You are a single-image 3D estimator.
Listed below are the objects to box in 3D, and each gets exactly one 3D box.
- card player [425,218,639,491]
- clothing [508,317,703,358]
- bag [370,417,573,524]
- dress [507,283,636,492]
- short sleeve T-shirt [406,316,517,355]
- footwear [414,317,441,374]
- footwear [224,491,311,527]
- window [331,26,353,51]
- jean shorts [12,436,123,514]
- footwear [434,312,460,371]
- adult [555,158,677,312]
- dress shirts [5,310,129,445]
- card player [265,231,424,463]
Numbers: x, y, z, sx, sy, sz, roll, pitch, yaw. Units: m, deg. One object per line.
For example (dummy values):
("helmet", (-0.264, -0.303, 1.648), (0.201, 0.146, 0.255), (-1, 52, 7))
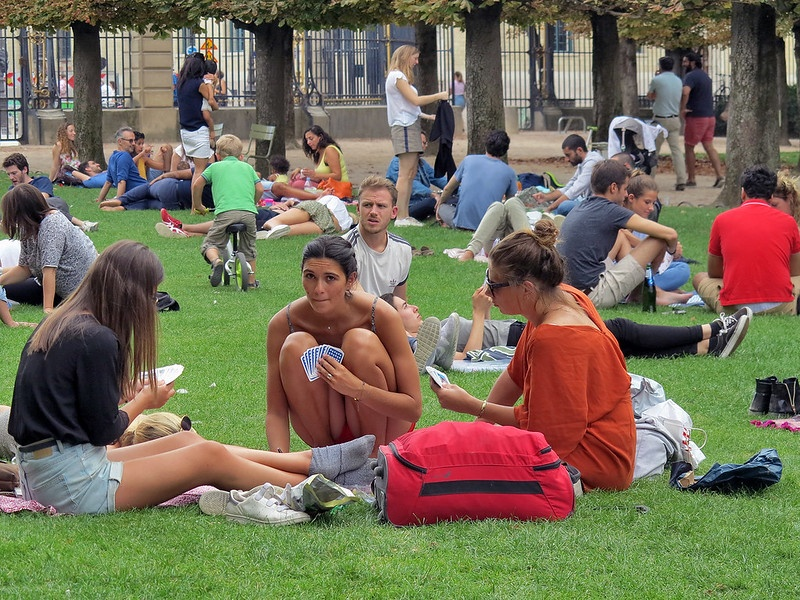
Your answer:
("card player", (0.970, 0.393, 12.459), (1.756, 2.528, 1.503), (2, 7, 15))
("clothing", (2.222, 0.373, 14.959), (1.239, 0.352, 0.731), (1, -4, 3))
("bag", (0.523, 1.276, 12.044), (1.211, 0.705, 0.724), (-1, 2, -7))
("dress", (1.498, 0.674, 12.818), (1.244, 1.791, 1.244), (-1, 11, 8))
("short sleeve T-shirt", (0.722, 0.328, 15.104), (0.845, 0.286, 0.457), (7, 4, -12))
("footwear", (0.246, 0.390, 14.387), (0.180, 0.597, 0.231), (11, 7, -14))
("footwear", (-1.029, 1.623, 11.966), (0.613, 0.275, 0.244), (2, -3, -3))
("window", (-1.419, -6.506, 38.387), (0.486, 0.602, 0.523), (0, 0, 3))
("jean shorts", (-2.514, 1.326, 11.805), (0.660, 0.273, 0.506), (4, 2, -32))
("footwear", (0.463, 0.350, 14.789), (0.239, 0.596, 0.192), (8, -22, 6))
("adult", (2.329, -0.680, 16.820), (1.472, 1.662, 1.162), (-16, 29, -21))
("dress shirts", (-2.426, 0.596, 11.906), (0.980, 1.114, 0.850), (10, 10, 31))
("card player", (-0.520, 0.539, 12.815), (1.326, 2.181, 1.472), (-2, 5, -6))
